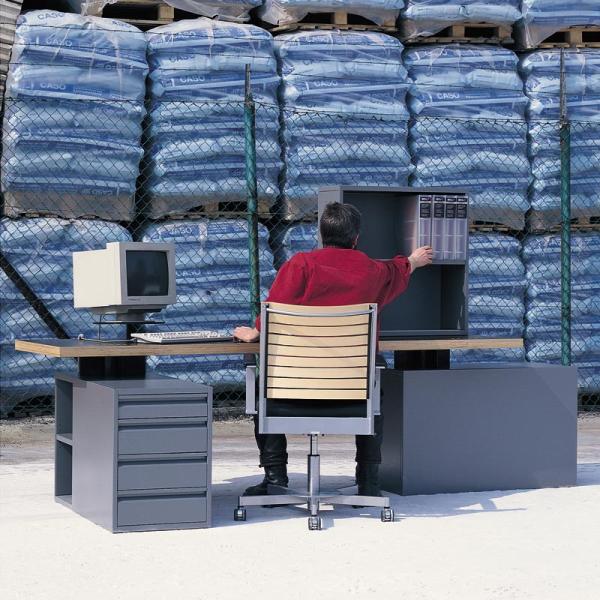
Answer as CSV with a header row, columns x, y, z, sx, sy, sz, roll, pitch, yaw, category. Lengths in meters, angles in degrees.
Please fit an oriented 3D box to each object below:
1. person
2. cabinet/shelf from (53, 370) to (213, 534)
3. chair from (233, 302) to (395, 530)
x,y,z,sx,sy,sz,roll,pitch,yaw,category
0.175,0.241,5.357,0.853,1.379,0.688,1,7,4,person
-0.753,0.664,5.119,0.489,0.624,0.780,-5,5,-30,cabinet/shelf
0.073,0.491,5.173,1.044,1.193,0.922,1,1,-3,chair
